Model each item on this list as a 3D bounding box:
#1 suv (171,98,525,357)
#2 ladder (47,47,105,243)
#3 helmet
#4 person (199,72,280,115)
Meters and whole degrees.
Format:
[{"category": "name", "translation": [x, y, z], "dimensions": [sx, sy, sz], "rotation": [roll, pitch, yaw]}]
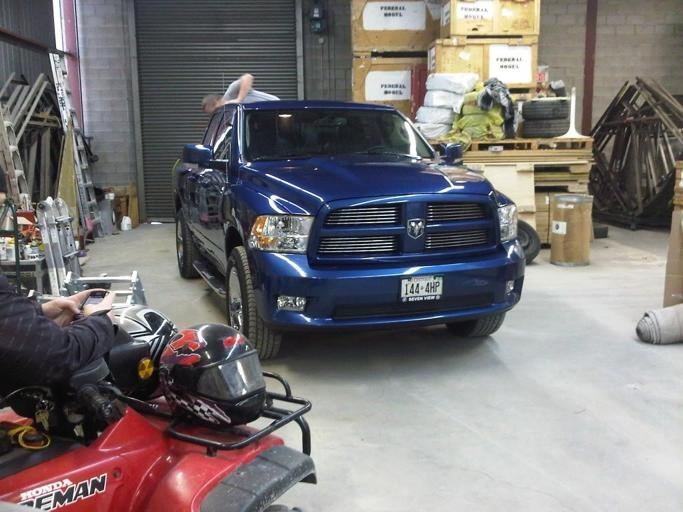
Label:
[{"category": "suv", "translation": [-0.349, -0.418, 5.134], "dimensions": [1.653, 1.383, 3.271], "rotation": [-1, 7, -21]}, {"category": "ladder", "translation": [-4.572, -1.898, 10.028], "dimensions": [0.590, 3.207, 1.752], "rotation": [-6, 13, -25]}, {"category": "helmet", "translation": [-0.501, 0.424, 2.275], "dimensions": [0.385, 0.326, 0.320], "rotation": [8, 9, 25]}, {"category": "person", "translation": [-1.401, -2.135, 7.696], "dimensions": [1.455, 0.421, 0.893], "rotation": [-1, 13, -6]}]
